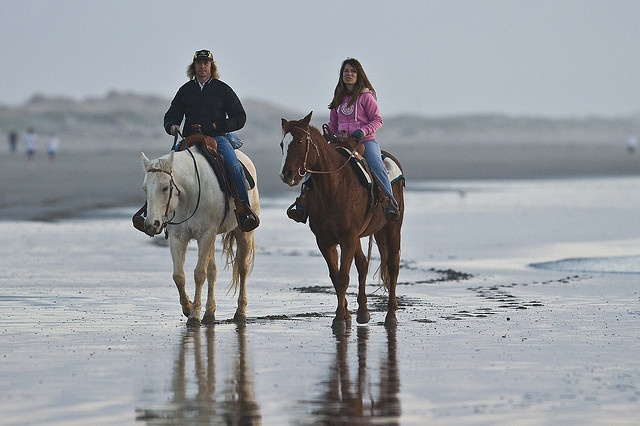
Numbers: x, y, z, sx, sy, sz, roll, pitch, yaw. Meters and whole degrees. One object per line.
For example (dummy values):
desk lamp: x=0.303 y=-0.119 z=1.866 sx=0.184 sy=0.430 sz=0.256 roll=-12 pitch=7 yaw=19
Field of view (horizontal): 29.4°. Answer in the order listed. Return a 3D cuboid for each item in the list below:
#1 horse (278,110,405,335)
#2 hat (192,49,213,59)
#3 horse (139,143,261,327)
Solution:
horse: x=0.497 y=0.119 z=22.575 sx=1.422 sy=3.838 sz=3.209 roll=0 pitch=0 yaw=24
hat: x=-2.165 y=-2.999 z=23.002 sx=0.311 sy=0.184 sz=0.679 roll=0 pitch=0 yaw=-7
horse: x=-2.185 y=0.376 z=22.766 sx=1.301 sy=3.282 sz=3.133 roll=0 pitch=0 yaw=16
